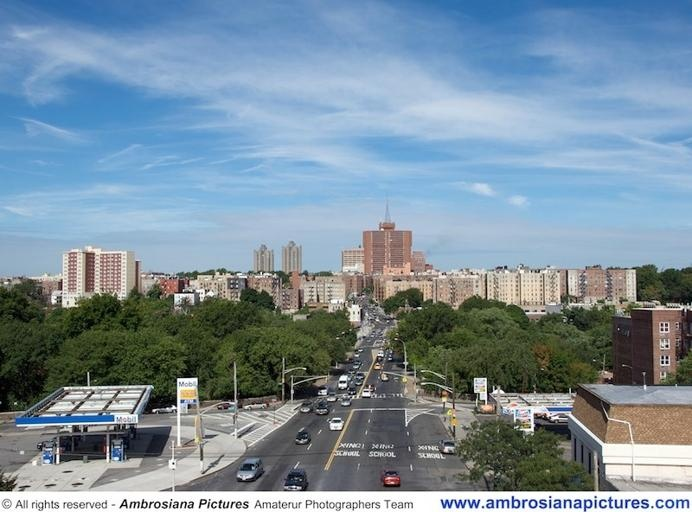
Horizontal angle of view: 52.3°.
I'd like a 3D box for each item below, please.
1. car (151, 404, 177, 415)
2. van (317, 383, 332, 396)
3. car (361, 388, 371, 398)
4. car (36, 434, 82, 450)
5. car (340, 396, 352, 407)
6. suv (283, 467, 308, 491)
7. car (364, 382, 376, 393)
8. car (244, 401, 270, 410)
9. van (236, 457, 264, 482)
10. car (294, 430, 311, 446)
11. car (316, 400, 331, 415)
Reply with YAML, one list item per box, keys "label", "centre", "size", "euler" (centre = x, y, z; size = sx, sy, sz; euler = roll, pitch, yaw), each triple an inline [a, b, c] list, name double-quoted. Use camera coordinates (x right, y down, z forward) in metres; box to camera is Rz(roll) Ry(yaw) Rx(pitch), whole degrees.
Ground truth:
- label: "car"
  centre: [-26.853, 22.542, 104.419]
  size: [3.370, 0.905, 1.298]
  euler: [3, -15, -3]
- label: "van"
  centre: [-3.922, 23.073, 123.095]
  size: [1.813, 1.248, 3.673]
  euler: [1, 4, 6]
- label: "car"
  centre: [3.207, 22.463, 115.575]
  size: [1.273, 1.127, 2.555]
  euler: [-1, 1, -2]
- label: "car"
  centre: [-32.015, 20.697, 78.907]
  size: [2.933, 1.211, 4.503]
  euler: [0, -12, -9]
- label: "car"
  centre: [-0.044, 21.983, 107.408]
  size: [1.521, 1.115, 2.098]
  euler: [-1, 1, -4]
- label: "suv"
  centre: [-4.524, 20.178, 63.452]
  size: [1.939, 1.486, 2.949]
  euler: [-1, 1, 0]
- label: "car"
  centre: [4.150, 23.324, 125.798]
  size: [2.108, 1.772, 1.868]
  euler: [-1, -9, 4]
- label: "car"
  centre: [-13.725, 22.668, 107.775]
  size: [3.254, 0.830, 1.356]
  euler: [4, -9, -4]
- label: "van"
  centre: [-9.250, 20.427, 67.804]
  size: [1.885, 1.601, 2.717]
  euler: [-1, 1, 10]
- label: "car"
  centre: [-5.016, 20.929, 81.684]
  size: [1.813, 1.021, 2.081]
  euler: [-1, 1, -5]
- label: "car"
  centre: [-3.359, 21.961, 102.990]
  size: [1.470, 0.880, 2.663]
  euler: [1, 4, 3]
